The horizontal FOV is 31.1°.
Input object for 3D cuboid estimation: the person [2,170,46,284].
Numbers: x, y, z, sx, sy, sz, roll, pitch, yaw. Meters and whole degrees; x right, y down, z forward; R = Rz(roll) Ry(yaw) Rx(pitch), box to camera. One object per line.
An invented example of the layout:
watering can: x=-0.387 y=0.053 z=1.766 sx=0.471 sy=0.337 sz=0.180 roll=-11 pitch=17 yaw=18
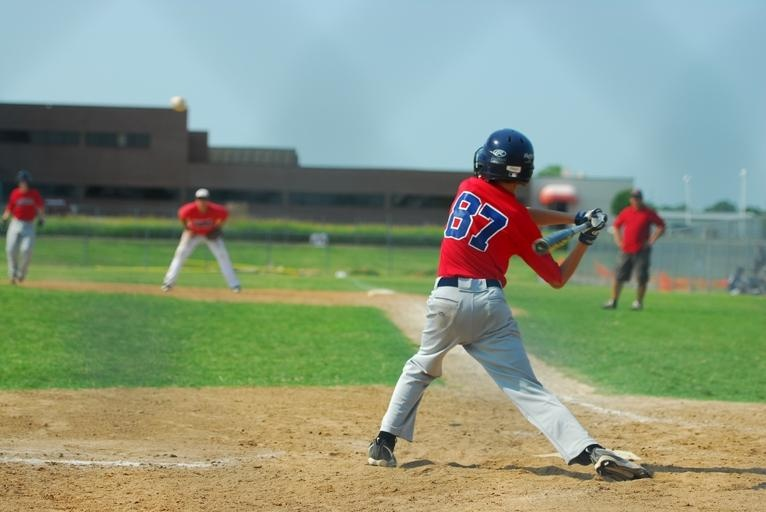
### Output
person: x=-3.622 y=-0.274 z=13.798 sx=0.398 sy=1.037 sz=0.136 roll=5 pitch=1 yaw=-16

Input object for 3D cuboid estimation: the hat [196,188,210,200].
hat: x=-1.823 y=-0.612 z=13.832 sx=0.126 sy=0.091 sz=0.200 roll=6 pitch=-5 yaw=-5

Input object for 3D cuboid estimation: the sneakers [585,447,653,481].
sneakers: x=2.072 y=1.819 z=11.987 sx=0.604 sy=0.286 sz=0.133 roll=5 pitch=1 yaw=-24

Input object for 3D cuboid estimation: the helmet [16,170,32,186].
helmet: x=-3.619 y=-0.782 z=13.798 sx=0.111 sy=0.141 sz=0.142 roll=2 pitch=-9 yaw=-22

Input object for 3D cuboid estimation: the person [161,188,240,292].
person: x=-1.805 y=-0.134 z=13.924 sx=0.782 sy=0.984 sz=0.189 roll=5 pitch=1 yaw=-14
